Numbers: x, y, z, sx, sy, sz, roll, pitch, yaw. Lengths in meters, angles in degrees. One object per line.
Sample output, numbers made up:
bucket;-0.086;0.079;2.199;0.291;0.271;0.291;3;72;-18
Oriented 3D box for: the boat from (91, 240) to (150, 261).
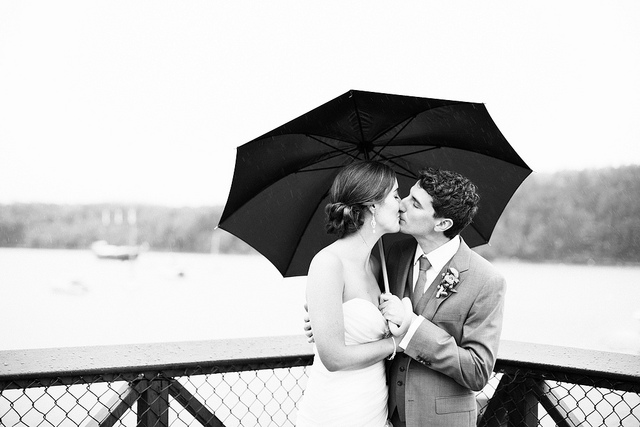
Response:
boat;-17.371;3.204;62.149;2.050;2.039;7.535;2;6;18
